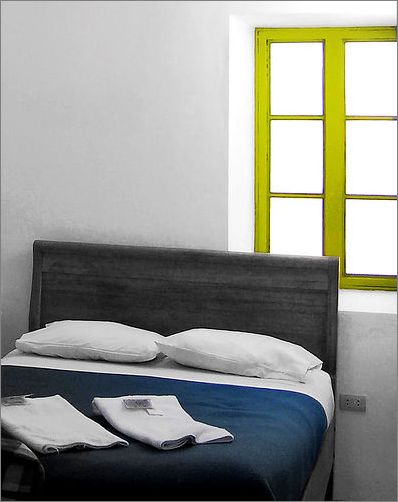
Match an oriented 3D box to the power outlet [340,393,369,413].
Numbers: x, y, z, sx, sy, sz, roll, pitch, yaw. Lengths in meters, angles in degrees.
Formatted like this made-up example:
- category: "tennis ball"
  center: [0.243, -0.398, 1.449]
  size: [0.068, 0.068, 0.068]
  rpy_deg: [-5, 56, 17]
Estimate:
- category: "power outlet"
  center: [0.724, 0.716, 2.163]
  size: [0.127, 0.061, 0.011]
  rpy_deg: [1, 1, 6]
